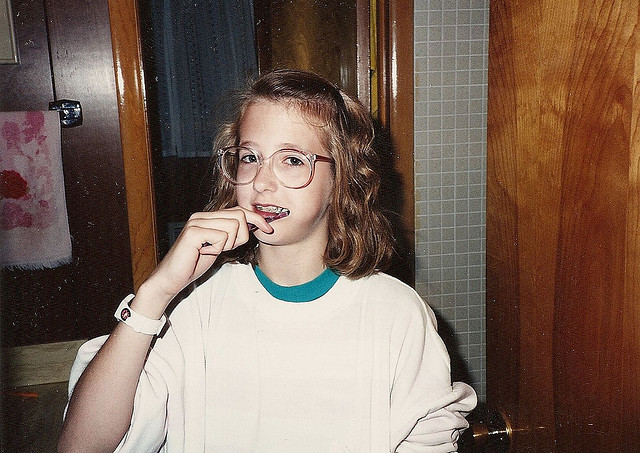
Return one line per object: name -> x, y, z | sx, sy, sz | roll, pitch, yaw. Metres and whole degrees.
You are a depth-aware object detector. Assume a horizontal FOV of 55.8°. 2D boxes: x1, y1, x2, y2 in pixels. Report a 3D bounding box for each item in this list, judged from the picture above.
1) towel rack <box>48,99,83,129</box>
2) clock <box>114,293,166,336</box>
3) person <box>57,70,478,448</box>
towel rack -> -1.027, -0.457, 2.452 | 0.123, 0.112, 0.049 | -3, 7, -24
clock -> -0.427, 0.213, 1.458 | 0.088, 0.052, 0.086 | 27, -5, -1
person -> -0.112, 0.069, 1.624 | 1.057, 0.979, 0.361 | -1, 6, -7
